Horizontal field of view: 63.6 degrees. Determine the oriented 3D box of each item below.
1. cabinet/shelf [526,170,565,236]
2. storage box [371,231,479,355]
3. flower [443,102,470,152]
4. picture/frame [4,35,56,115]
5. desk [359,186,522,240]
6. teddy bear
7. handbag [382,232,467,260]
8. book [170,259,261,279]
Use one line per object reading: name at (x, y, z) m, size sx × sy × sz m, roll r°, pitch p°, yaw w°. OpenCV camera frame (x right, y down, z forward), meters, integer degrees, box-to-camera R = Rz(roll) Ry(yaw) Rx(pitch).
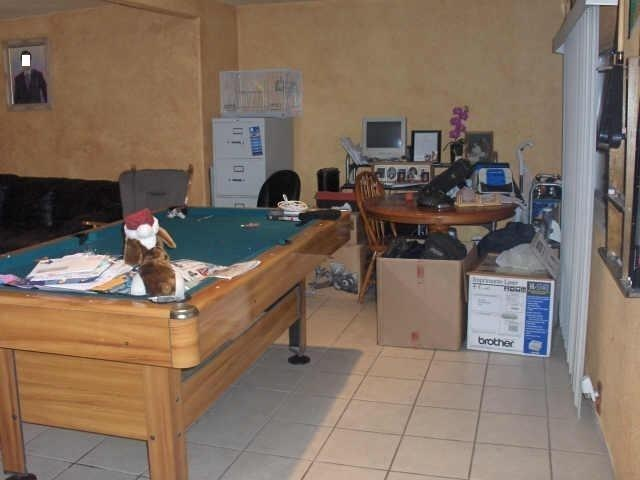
cabinet/shelf at (1.880, -0.312, 4.320) m, size 0.246 × 0.430 × 0.478 m, roll 8°, pitch 17°, yaw 29°
storage box at (0.748, 0.383, 3.797) m, size 0.623 × 0.563 × 0.836 m, roll 2°, pitch 9°, yaw 12°
flower at (1.699, -1.375, 6.349) m, size 0.252 × 0.557 × 0.650 m, roll 3°, pitch 15°, yaw 13°
picture/frame at (-3.843, -2.179, 6.772) m, size 0.618 × 0.877 × 0.151 m, roll 2°, pitch 15°, yaw 9°
desk at (0.913, -0.181, 4.152) m, size 1.220 × 0.339 × 0.757 m, roll 5°, pitch 15°, yaw 21°
teddy bear at (-0.676, 0.055, 2.064) m, size 0.188 × 0.378 × 0.135 m, roll -9°, pitch -28°, yaw -23°
handbag at (0.767, 0.057, 3.806) m, size 0.325 × 0.102 × 0.339 m, roll 3°, pitch 12°, yaw 27°
book at (-0.470, 0.131, 2.283) m, size 0.223 × 0.027 × 0.157 m, roll 10°, pitch 12°, yaw 11°
